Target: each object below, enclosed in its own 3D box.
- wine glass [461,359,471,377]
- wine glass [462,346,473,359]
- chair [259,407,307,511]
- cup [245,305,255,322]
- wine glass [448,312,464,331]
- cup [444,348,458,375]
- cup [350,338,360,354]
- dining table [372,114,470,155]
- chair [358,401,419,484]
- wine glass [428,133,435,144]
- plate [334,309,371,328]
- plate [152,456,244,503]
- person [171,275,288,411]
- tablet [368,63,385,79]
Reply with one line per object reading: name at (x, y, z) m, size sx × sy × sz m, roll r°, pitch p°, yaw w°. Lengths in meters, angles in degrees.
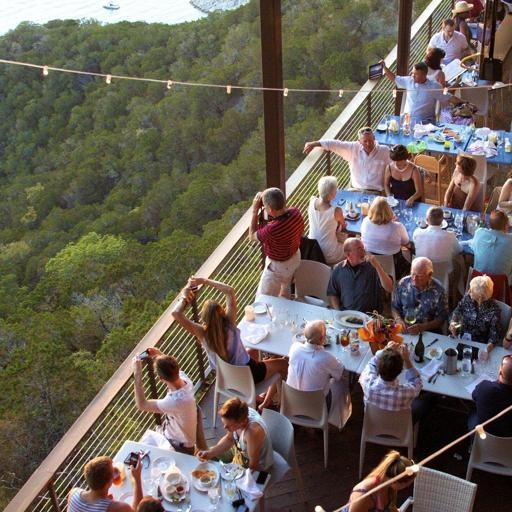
wine glass at (1.458, 0.764, 4.027) m, size 0.076 × 0.083 × 0.081 m, roll -5°, pitch 20°, yaw 10°
wine glass at (1.481, 0.694, 4.101) m, size 0.065 × 0.098 × 0.076 m, roll -6°, pitch 22°, yaw -3°
chair at (0.169, 1.349, 3.798) m, size 0.339 × 0.605 × 0.377 m, roll 25°, pitch 44°, yaw 33°
cup at (-0.047, 0.467, 4.738) m, size 0.085 × 0.121 × 0.101 m, roll -2°, pitch 35°, yaw 3°
wine glass at (1.522, 0.513, 4.431) m, size 0.094 × 0.152 × 0.133 m, roll 1°, pitch 22°, yaw 25°
cup at (1.345, 0.735, 4.013) m, size 0.079 × 0.129 × 0.077 m, roll -7°, pitch 34°, yaw 4°
cup at (0.739, 0.670, 4.344) m, size 0.069 × 0.042 × 0.156 m, roll -5°, pitch 23°, yaw 13°
dining table at (2.017, -1.509, 7.148) m, size 1.127 × 0.366 × 0.782 m, roll 2°, pitch 24°, yaw 28°
chair at (0.848, 1.175, 3.680) m, size 0.288 × 0.636 × 0.418 m, roll 6°, pitch 47°, yaw 13°
wine glass at (2.110, -1.432, 7.028) m, size 0.081 × 0.121 × 0.106 m, roll -5°, pitch 36°, yaw 2°
plate at (0.759, 0.498, 4.604) m, size 0.280 × 0.066 × 0.209 m, roll -4°, pitch 23°, yaw 17°
plate at (-0.383, 1.325, 3.398) m, size 0.317 × 0.040 × 0.263 m, roll -14°, pitch 42°, yaw -8°
person at (-0.118, 0.717, 4.331) m, size 0.425 × 1.303 × 0.399 m, roll -2°, pitch 43°, yaw 34°
tablet at (1.506, -2.304, 7.282) m, size 0.196 × 0.224 × 0.371 m, roll -4°, pitch 22°, yaw 13°
